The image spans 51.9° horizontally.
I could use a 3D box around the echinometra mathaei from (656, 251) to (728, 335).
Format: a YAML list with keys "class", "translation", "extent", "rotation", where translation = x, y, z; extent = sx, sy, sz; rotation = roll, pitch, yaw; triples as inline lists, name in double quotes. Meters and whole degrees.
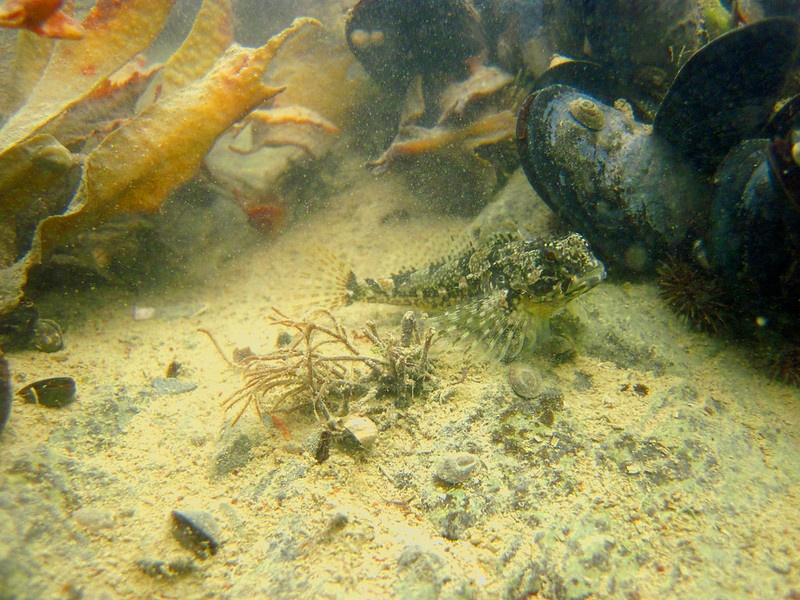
- class: "echinometra mathaei"
  translation: [2.241, -0.043, 6.348]
  extent: [0.593, 0.416, 0.170]
  rotation: [28, 42, 24]
